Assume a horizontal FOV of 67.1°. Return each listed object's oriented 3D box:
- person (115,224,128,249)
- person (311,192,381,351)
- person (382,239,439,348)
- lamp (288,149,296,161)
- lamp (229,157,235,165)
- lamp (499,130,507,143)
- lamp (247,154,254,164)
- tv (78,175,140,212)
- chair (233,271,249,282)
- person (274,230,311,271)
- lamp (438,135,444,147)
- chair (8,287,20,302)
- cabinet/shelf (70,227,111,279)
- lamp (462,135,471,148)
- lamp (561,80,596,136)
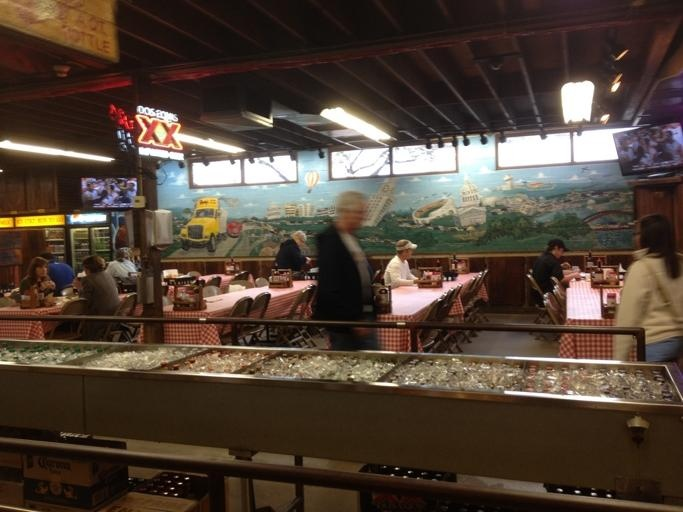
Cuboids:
[{"bbox_3d":[-5.746,-0.511,13.429,0.249,0.657,0.933,-6,5,-28],"label":"person"},{"bbox_3d":[0.004,0.116,3.509,0.410,1.110,0.389,-4,4,4],"label":"person"},{"bbox_3d":[0.925,0.467,7.851,0.946,1.158,0.613,2,9,-15],"label":"person"},{"bbox_3d":[-1.231,-2.578,13.202,0.187,0.255,0.154,-4,4,-6],"label":"lamp"},{"bbox_3d":[-2.893,-2.513,13.651,0.162,0.098,0.122,-3,-6,27],"label":"lamp"},{"bbox_3d":[3.481,-2.568,11.127,0.131,0.223,0.467,-2,3,16],"label":"lamp"},{"bbox_3d":[-2.368,-2.538,13.553,0.165,0.181,0.309,-4,3,-6],"label":"lamp"},{"bbox_3d":[-5.578,-1.532,12.527,1.926,0.791,0.155,4,7,24],"label":"tv"},{"bbox_3d":[-1.875,0.388,9.674,0.236,0.149,0.204,0,17,-7],"label":"chair"},{"bbox_3d":[-0.888,-0.052,8.935,0.538,0.735,1.593,-4,3,-7],"label":"person"},{"bbox_3d":[2.117,-2.457,11.057,0.117,0.233,0.364,-2,3,16],"label":"lamp"},{"bbox_3d":[-4.815,0.570,7.560,0.239,0.190,0.273,2,-5,-29],"label":"chair"},{"bbox_3d":[-6.616,0.068,13.461,0.713,0.852,0.510,-16,-2,5],"label":"cabinet/shelf"},{"bbox_3d":[2.635,-2.437,10.912,0.173,0.285,0.051,-3,0,21],"label":"lamp"},{"bbox_3d":[2.779,-1.850,6.055,0.342,0.525,0.530,-2,4,22],"label":"lamp"}]
